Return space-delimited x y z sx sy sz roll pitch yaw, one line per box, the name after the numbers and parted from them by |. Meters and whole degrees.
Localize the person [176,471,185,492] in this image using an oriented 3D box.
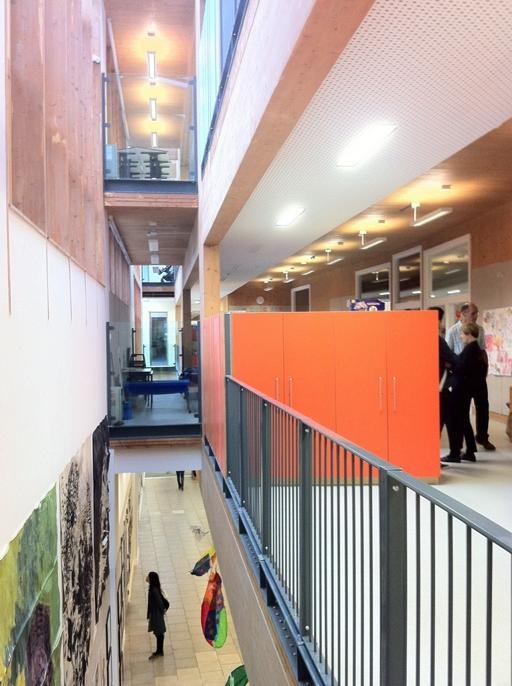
-3.042 5.549 22.031 0.229 0.942 0.982 -3 5 -9 | person

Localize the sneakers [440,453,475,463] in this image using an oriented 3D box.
2.210 1.253 5.951 0.208 0.102 0.082 1 -3 11 | sneakers

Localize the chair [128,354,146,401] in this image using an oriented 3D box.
-1.991 0.392 9.103 0.323 0.723 0.367 0 10 -7 | chair

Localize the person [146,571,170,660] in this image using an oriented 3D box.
-1.996 5.662 11.145 0.427 1.871 1.109 -4 5 -12 | person

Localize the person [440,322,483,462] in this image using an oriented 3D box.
2.270 0.538 5.955 0.636 1.558 0.331 -6 6 -34 | person
